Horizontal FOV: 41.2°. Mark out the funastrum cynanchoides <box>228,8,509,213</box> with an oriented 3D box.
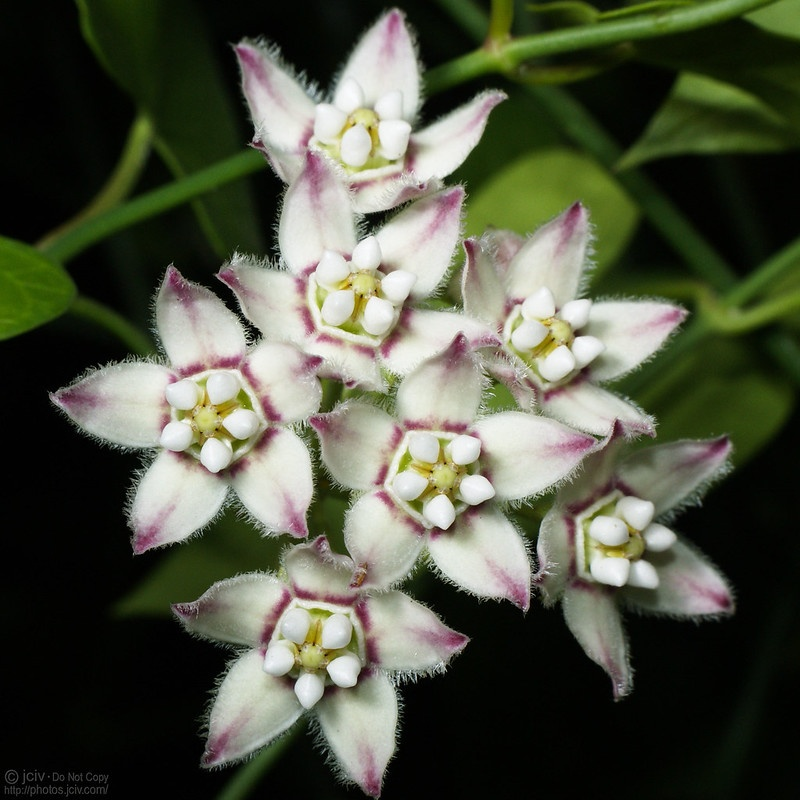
[{"bbox_3d":[-0.089,-0.486,2.039,0.586,0.185,0.402,8,46,-8],"label":"funastrum cynanchoides"}]
